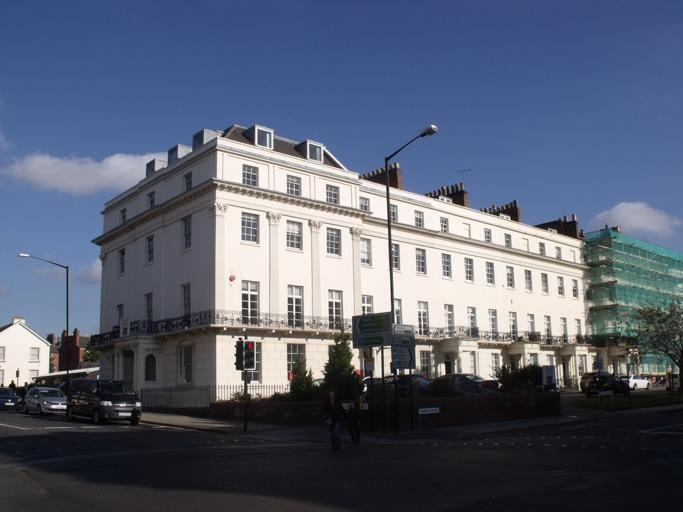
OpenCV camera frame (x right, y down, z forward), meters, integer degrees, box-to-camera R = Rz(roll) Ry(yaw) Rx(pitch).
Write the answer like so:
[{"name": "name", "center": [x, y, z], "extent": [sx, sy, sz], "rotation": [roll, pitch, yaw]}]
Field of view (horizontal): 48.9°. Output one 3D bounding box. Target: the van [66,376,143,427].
[{"name": "van", "center": [-11.899, 7.263, 37.636], "extent": [2.111, 1.744, 3.965], "rotation": [11, -19, -38]}]

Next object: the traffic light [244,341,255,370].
[{"name": "traffic light", "center": [-3.997, 4.234, 32.452], "extent": [0.399, 1.250, 0.402], "rotation": [3, -17, -18]}]

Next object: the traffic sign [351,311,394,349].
[{"name": "traffic sign", "center": [1.315, 3.148, 31.888], "extent": [2.838, 2.121, 0.412], "rotation": [-7, -8, 43]}]
